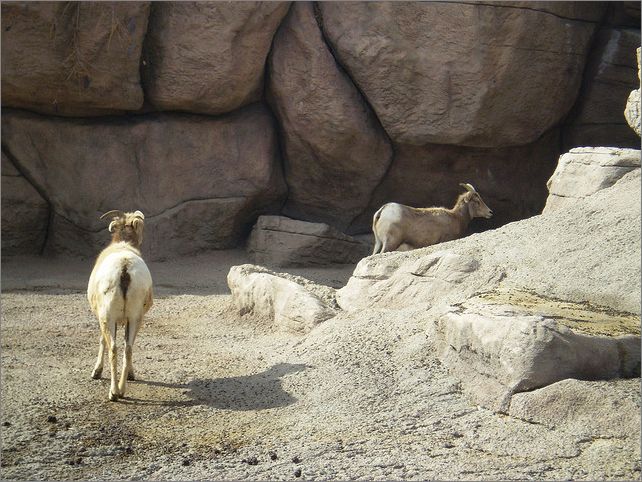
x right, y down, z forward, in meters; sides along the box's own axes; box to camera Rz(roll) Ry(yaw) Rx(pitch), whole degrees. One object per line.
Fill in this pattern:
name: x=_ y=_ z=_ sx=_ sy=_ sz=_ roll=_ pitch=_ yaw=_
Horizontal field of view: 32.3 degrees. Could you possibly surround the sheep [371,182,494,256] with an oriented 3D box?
sheep: x=1.861 y=-0.365 z=18.879 sx=1.964 sy=1.187 sz=0.559 roll=-2 pitch=16 yaw=-28
